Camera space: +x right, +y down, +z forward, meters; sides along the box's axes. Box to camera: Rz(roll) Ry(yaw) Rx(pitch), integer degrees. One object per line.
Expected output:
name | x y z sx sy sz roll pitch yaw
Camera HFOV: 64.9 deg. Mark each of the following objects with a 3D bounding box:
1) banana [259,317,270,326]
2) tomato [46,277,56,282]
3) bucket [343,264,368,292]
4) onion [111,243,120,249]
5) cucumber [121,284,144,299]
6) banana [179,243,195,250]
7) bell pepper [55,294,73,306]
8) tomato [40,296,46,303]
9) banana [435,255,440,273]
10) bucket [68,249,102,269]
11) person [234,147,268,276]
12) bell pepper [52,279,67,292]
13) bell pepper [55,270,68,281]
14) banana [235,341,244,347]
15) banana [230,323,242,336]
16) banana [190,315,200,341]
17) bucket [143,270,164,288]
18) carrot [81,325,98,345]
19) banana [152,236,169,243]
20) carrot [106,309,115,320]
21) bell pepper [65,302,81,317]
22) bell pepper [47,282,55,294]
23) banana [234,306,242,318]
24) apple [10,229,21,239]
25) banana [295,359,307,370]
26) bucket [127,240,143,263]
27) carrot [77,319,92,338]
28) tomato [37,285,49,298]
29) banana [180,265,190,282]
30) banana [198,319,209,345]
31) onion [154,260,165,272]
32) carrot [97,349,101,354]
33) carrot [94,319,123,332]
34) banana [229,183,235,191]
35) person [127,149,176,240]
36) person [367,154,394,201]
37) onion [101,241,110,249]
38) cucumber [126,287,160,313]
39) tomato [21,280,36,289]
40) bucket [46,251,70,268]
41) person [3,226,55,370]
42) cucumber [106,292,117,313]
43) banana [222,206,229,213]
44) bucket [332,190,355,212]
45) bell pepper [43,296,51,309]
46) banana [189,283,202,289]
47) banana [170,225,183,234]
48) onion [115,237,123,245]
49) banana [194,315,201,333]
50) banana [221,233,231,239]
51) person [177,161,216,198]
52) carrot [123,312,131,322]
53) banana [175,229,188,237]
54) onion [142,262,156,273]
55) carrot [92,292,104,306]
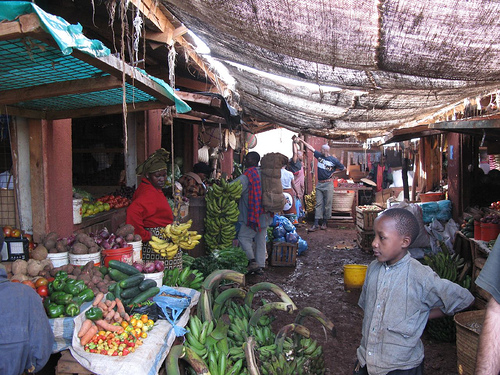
banana | 0.154 1.491 4.332 0.112 0.108 0.108 -1 2 -6
tomato | -1.861 0.856 3.663 0.047 0.048 0.046 -3 3 -32
bucket | 1.785 1.532 6.749 0.456 0.374 0.446 3 -5 0
onion | -1.448 0.629 4.208 0.050 0.029 0.052 9 6 22
cucumber | -1.099 0.967 3.676 0.198 0.062 0.065 -21 28 -26
banana | -0.793 0.731 4.875 0.170 0.101 0.217 -1 2 -9
bell pepper | -1.600 0.949 3.391 0.158 0.108 0.101 -4 -10 23
tomato | -1.840 0.996 3.480 0.040 0.054 0.025 8 2 25
banana | 2.621 1.076 5.490 0.057 0.199 0.163 0 2 12
bucket | -1.707 0.738 4.009 0.337 0.154 0.286 -1 2 -13
person | 0.004 0.556 7.386 0.599 2.226 0.461 -1 3 -4
bell pepper | -1.703 0.870 3.500 0.103 0.108 0.046 -1 -30 1
bell pepper | -1.725 0.810 3.601 0.121 0.062 0.135 -1 2 -9
banana | -0.112 1.589 4.003 0.065 0.035 0.032 -16 29 -2
banana | -0.150 1.486 4.102 0.079 0.089 0.150 -3 3 -35
banana | -0.573 1.430 4.002 0.055 0.238 0.078 -4 -25 -21
bucket | -0.980 0.936 4.043 0.137 0.140 0.142 0 -1 0
carrot | -1.319 1.207 3.238 0.057 0.048 0.152 28 50 9
banana | -1.068 0.628 4.687 0.188 0.069 0.056 21 2 -18
carrot | -1.213 1.105 3.408 0.042 0.081 0.031 27 -11 17
bell pepper | -1.501 1.033 3.327 0.118 0.114 0.063 -2 3 -25
bell pepper | -1.802 0.907 3.537 0.034 0.099 0.074 -12 0 -40
banana | -0.144 1.417 4.468 0.034 0.147 0.037 -29 -1 15
apple | -2.489 0.490 4.170 0.089 0.086 0.088 -11 -8 -35
banana | 0.479 1.652 3.703 0.019 0.040 0.133 -15 15 39
bucket | -1.273 0.726 4.438 0.172 0.196 0.179 0 5 0
carrot | -1.360 1.159 3.241 0.057 0.132 0.047 18 -19 28
tomato | -1.860 0.929 3.520 0.084 0.108 0.087 -1 2 1
banana | -0.795 1.055 4.822 0.055 0.044 0.213 -1 44 38
banana | -0.475 1.464 3.986 0.057 0.073 0.218 26 41 -1
onion | -0.950 0.817 4.105 0.065 0.122 0.067 9 -47 -39
carrot | -1.213 1.315 3.146 0.028 0.023 0.015 -1 2 -11
carrot | -1.204 1.165 3.354 0.241 0.102 0.093 -1 2 -1
banana | -0.331 -0.005 7.061 0.108 0.131 0.030 -1 3 -5
person | -1.345 0.046 5.531 0.548 1.141 2.120 -1 2 -10
person | 5.119 -0.414 15.539 0.931 1.812 0.897 0 3 17
onion | -1.536 0.607 4.166 0.067 0.070 0.052 17 37 -26
cucumber | -0.983 1.006 3.606 0.312 0.114 0.085 -36 -12 -33
tomato | -1.985 0.871 3.528 0.101 0.071 0.201 -2 3 -31
bucket | -1.982 0.738 4.027 0.146 0.099 0.156 0 -9 0
person | -1.547 0.952 2.741 0.294 0.740 0.230 -2 3 -28
cucumber | -1.253 1.038 3.543 0.078 0.171 0.058 -6 -21 -7
banana | -0.456 0.400 7.163 0.128 0.129 0.033 0 3 19
bucket | 3.064 0.460 13.152 0.691 0.528 0.680 0 -1 0
bell pepper | -1.764 0.994 3.407 0.025 0.073 0.054 19 0 -30
banana | -0.651 1.175 4.691 0.112 0.030 0.064 -14 38 -4
banana | -0.866 0.499 4.582 0.129 0.072 0.046 36 -4 32
onion | -1.432 0.578 4.285 0.069 0.069 0.083 43 10 19
banana | -0.547 1.413 4.078 0.038 0.167 0.059 -16 -7 31
banana | -0.456 0.905 7.319 0.219 0.088 0.052 18 9 -12
person | -1.046 -0.173 8.032 0.546 0.683 1.403 0 2 14
carrot | -1.090 1.150 3.478 0.041 0.079 0.028 -3 9 -6
banana | -0.817 0.536 4.645 0.162 0.058 0.049 -29 18 31
onion | -1.039 0.818 4.067 0.092 0.058 0.101 6 13 31
carrot | -1.339 0.982 3.465 0.065 0.081 0.127 -1 2 -9
